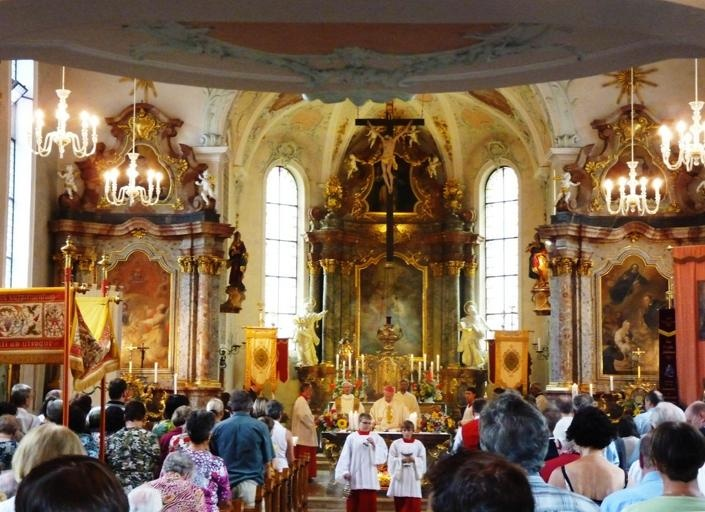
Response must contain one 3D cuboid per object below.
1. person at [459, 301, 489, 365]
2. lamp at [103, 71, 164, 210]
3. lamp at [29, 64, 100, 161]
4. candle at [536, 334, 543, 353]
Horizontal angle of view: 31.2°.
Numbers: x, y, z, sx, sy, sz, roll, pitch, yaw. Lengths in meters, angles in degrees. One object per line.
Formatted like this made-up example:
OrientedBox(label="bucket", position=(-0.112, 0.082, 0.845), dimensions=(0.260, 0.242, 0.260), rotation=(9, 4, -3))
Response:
OrientedBox(label="person", position=(2.412, 1.617, 25.422), dimensions=(0.596, 1.340, 0.686), rotation=(2, -7, -19))
OrientedBox(label="lamp", position=(-3.545, -1.874, 20.431), dimensions=(1.015, 2.352, 2.642), rotation=(1, -7, -10))
OrientedBox(label="lamp", position=(-4.100, -2.070, 17.738), dimensions=(0.993, 1.176, 0.923), rotation=(-1, 8, -21))
OrientedBox(label="candle", position=(3.672, 1.722, 24.556), dimensions=(0.146, 0.316, 0.470), rotation=(-1, -7, 8))
